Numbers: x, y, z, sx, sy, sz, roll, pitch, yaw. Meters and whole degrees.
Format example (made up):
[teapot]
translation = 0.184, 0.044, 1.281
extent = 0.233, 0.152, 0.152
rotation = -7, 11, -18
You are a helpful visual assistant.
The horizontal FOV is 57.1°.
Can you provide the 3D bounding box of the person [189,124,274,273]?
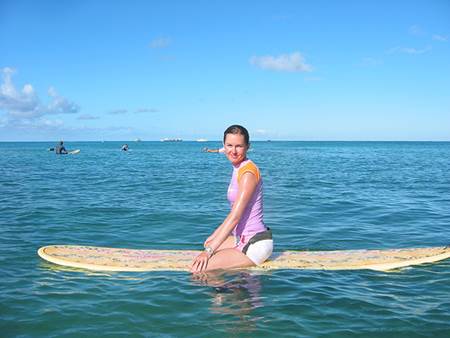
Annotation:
[person]
translation = 0.152, 0.520, 7.085
extent = 1.128, 2.516, 0.639
rotation = -4, 7, -38
